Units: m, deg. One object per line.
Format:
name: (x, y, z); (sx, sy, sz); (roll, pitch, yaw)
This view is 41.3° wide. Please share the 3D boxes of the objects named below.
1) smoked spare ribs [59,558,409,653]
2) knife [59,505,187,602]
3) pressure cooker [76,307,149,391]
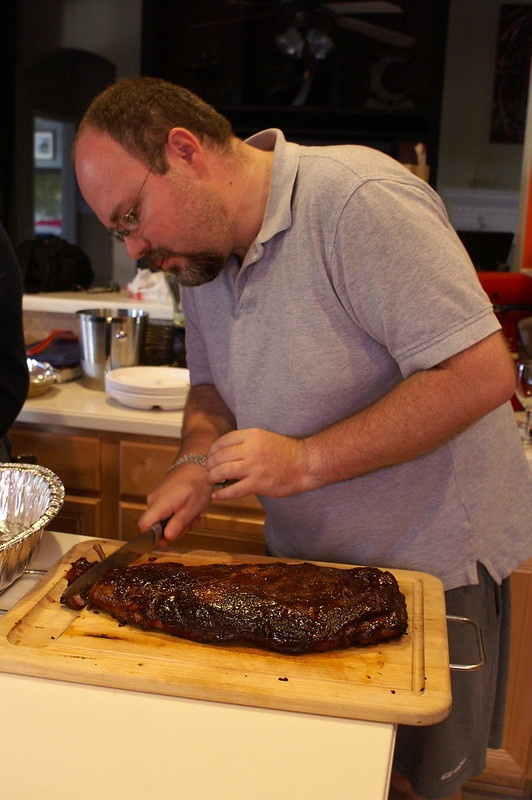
smoked spare ribs: (-0.015, 0.299, 1.045); (0.355, 0.054, 0.186); (3, 1, 11)
knife: (-0.227, 0.249, 1.238); (0.050, 0.041, 0.338); (16, 26, 30)
pressure cooker: (-0.543, -0.176, 2.464); (0.301, 0.288, 0.286); (1, 3, -6)
